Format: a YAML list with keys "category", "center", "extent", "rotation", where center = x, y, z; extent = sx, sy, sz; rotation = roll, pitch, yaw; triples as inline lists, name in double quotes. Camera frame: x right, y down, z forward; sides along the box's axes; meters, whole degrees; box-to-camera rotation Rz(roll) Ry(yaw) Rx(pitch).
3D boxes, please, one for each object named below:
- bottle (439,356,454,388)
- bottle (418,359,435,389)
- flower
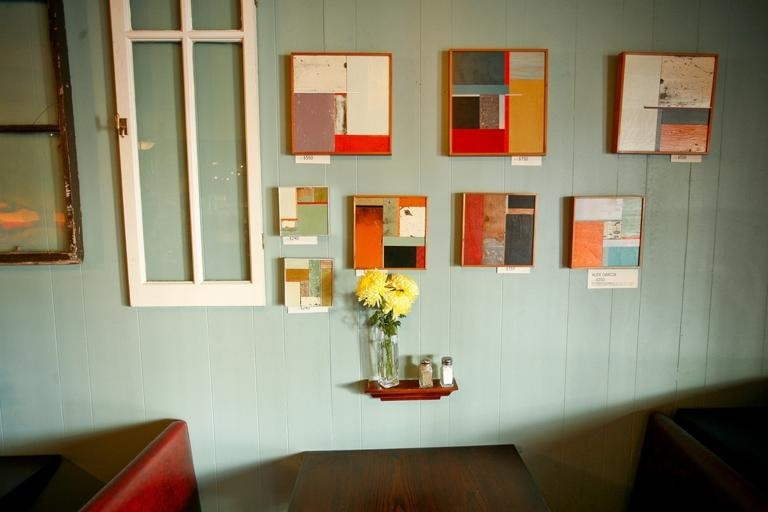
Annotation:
- category: "bottle"
  center: [0.309, 0.561, 2.986]
  extent: [0.066, 0.134, 0.086]
  rotation: [-1, 9, 1]
- category: "bottle"
  center: [0.208, 0.569, 2.984]
  extent: [0.069, 0.129, 0.108]
  rotation: [0, 9, 5]
- category: "flower"
  center: [0.012, 0.348, 2.971]
  extent: [0.288, 0.568, 0.169]
  rotation: [-2, 9, -4]
